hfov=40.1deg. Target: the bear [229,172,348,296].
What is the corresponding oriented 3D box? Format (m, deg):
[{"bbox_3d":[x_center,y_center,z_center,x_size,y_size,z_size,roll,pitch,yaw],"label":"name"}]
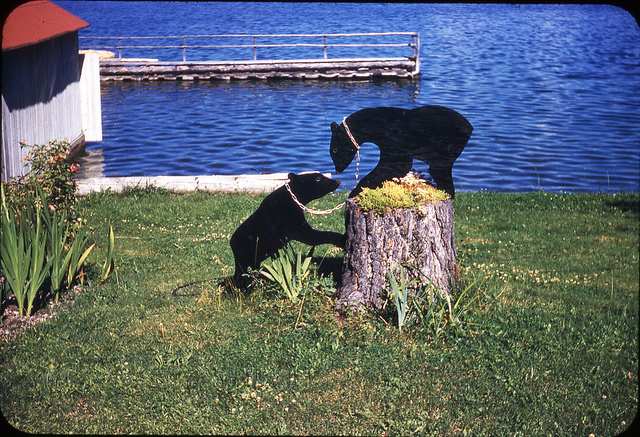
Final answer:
[{"bbox_3d":[-0.750,0.545,19.806,3.030,2.393,0.875,-23,3,0],"label":"bear"}]
